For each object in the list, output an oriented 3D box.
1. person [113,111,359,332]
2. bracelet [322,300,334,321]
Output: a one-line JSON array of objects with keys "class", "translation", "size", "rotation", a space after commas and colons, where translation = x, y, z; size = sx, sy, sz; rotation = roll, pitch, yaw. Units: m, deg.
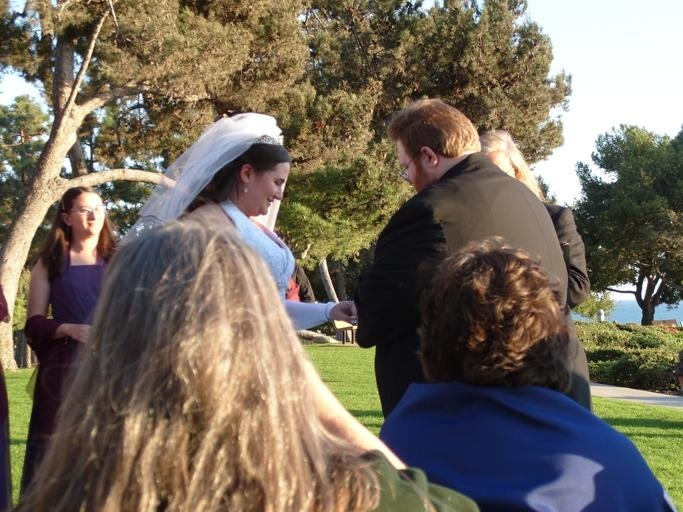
[{"class": "person", "translation": [-0.605, -0.245, 3.928], "size": [1.038, 1.442, 1.144], "rotation": [1, 0, -17]}, {"class": "bracelet", "translation": [-0.079, 0.311, 4.083], "size": [0.032, 0.102, 0.071], "rotation": [3, 6, -5]}]
